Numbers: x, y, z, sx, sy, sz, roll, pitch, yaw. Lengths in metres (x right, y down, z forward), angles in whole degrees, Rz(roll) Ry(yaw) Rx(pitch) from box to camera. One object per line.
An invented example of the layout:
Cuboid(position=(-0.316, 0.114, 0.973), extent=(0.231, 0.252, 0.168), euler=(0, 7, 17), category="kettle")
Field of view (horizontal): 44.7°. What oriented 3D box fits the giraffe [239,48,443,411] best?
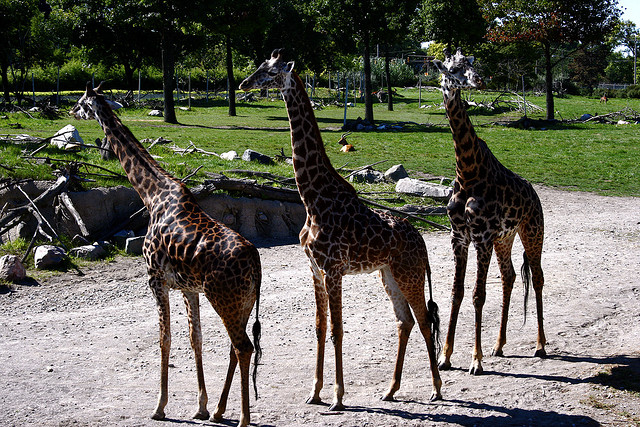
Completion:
Cuboid(position=(0.519, 0.380, 18.572), extent=(4.782, 8.473, 1.632), euler=(-1, -1, -10), category="giraffe")
